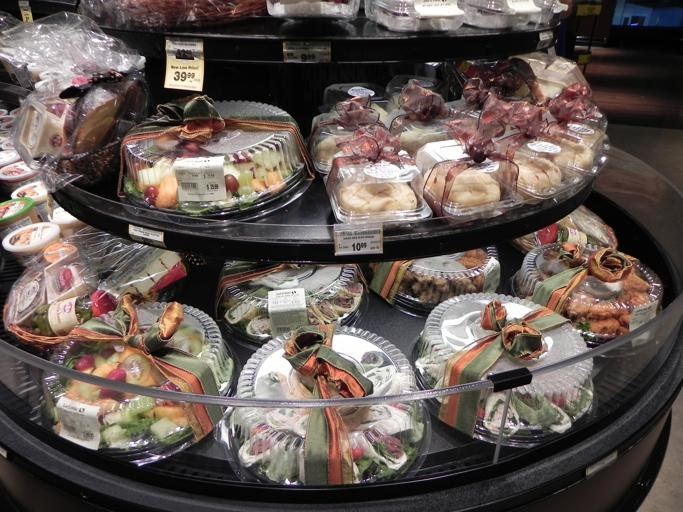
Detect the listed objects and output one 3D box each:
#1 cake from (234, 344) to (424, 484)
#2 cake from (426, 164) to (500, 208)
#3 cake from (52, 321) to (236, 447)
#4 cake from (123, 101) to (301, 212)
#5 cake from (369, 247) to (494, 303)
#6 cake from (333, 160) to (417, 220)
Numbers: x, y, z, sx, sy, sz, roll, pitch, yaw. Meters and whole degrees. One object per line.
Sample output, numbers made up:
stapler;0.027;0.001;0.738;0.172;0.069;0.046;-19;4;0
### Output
cake;-0.043;0.533;1.677;0.794;0.164;0.645;-1;29;-3
cake;0.420;-0.238;1.580;0.260;0.111;0.180;7;35;7
cake;-0.713;0.434;1.585;0.608;0.364;0.322;-1;36;-4
cake;-0.427;-0.288;1.740;0.546;0.250;0.500;-24;45;-30
cake;0.420;0.082;2.068;0.369;0.105;0.326;11;28;27
cake;0.124;-0.228;1.588;0.309;0.116;0.271;1;34;-1
